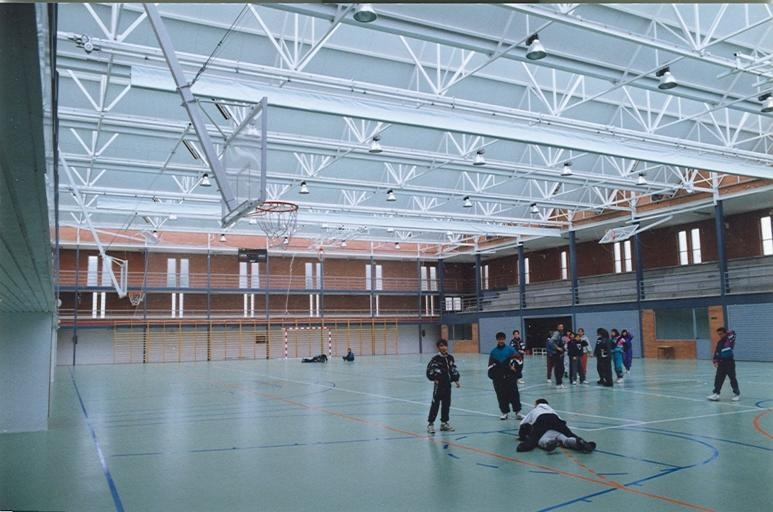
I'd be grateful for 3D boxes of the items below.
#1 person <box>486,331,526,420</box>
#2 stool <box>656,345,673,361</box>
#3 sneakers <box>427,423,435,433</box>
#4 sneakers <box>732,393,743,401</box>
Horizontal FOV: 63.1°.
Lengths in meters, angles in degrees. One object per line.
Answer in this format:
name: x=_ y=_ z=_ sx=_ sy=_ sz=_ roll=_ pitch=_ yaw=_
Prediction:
person: x=3.480 y=3.546 z=18.558 sx=0.906 sy=2.484 sz=1.514 roll=-3 pitch=-9 yaw=11
stool: x=17.918 y=6.255 z=40.764 sx=0.927 sy=0.750 sz=0.953 roll=-7 pitch=-10 yaw=45
sneakers: x=1.174 y=4.655 z=16.986 sx=0.189 sy=0.207 sz=0.259 roll=3 pitch=0 yaw=-2
sneakers: x=11.468 y=4.683 z=20.778 sx=0.525 sy=0.194 sz=0.167 roll=8 pitch=-13 yaw=-31
